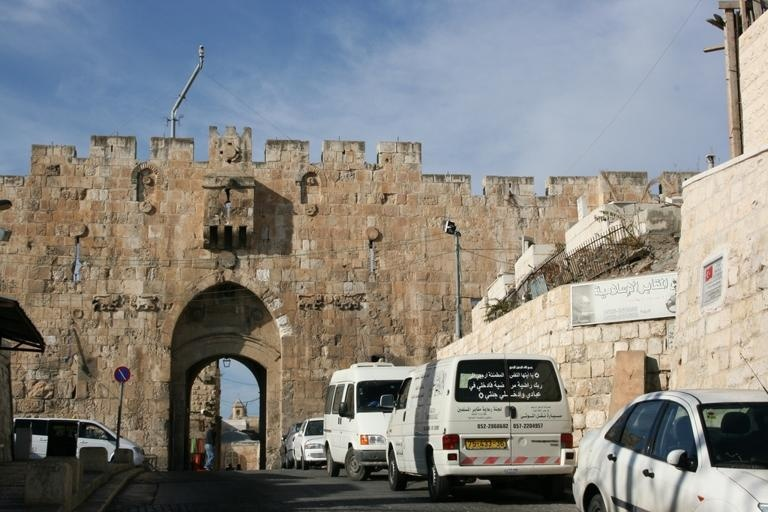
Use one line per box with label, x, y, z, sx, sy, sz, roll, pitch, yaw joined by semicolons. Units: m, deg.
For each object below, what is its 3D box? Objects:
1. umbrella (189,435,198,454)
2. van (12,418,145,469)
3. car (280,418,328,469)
umbrella;-8.012;7.935;50.942;0.326;0.691;0.212;6;-12;-20
van;-9.209;5.554;36.316;3.966;1.348;2.938;4;-12;-11
car;-2.444;5.817;36.956;0.953;0.975;2.683;2;-15;-13
